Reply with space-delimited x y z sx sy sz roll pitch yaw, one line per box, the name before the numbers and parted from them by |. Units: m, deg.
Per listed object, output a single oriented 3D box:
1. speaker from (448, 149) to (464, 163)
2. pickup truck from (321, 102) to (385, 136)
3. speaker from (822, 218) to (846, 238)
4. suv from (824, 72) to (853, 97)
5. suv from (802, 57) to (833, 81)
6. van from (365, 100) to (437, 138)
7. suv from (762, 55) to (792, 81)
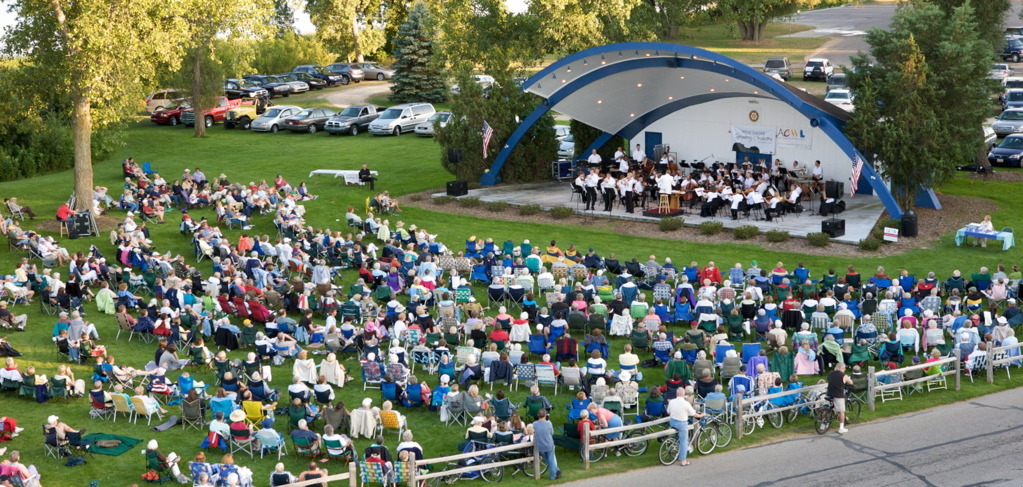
speaker | -3.608 -5.378 112.918 0.874 0.741 0.832 1 6 -3
pickup truck | -11.327 -8.472 125.704 3.670 1.941 1.357 -6 10 -34
speaker | 19.040 -0.818 105.229 1.218 0.860 1.209 -8 10 -44
suv | 23.042 -11.069 125.363 1.995 1.613 4.056 3 10 18
suv | 23.553 -12.994 135.437 1.417 1.064 2.405 6 23 24
van | -7.916 -8.721 126.723 2.416 1.794 5.258 9 16 36
suv | 20.226 -12.998 135.239 1.865 1.584 2.395 1 8 12
